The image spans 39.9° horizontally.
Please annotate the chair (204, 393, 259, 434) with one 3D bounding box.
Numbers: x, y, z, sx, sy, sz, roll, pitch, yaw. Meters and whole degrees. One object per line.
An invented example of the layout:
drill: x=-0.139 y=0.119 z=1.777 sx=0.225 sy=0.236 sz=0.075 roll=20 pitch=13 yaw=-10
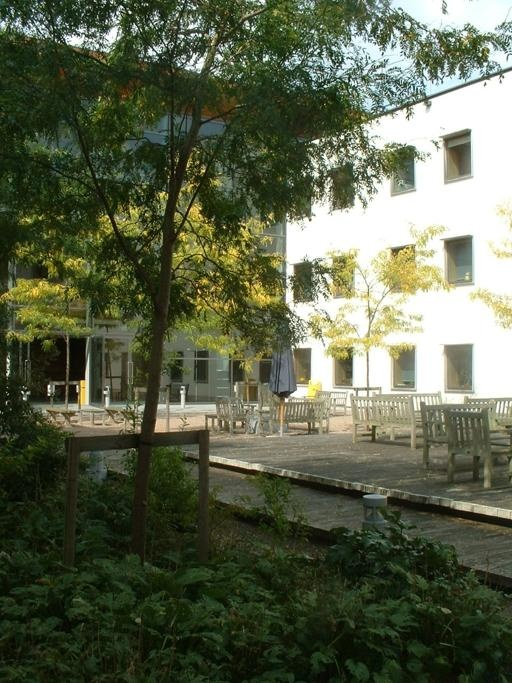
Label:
chair: x=-0.504 y=1.633 z=15.582 sx=1.040 sy=0.752 sz=2.208 roll=1 pitch=-6 yaw=-1
